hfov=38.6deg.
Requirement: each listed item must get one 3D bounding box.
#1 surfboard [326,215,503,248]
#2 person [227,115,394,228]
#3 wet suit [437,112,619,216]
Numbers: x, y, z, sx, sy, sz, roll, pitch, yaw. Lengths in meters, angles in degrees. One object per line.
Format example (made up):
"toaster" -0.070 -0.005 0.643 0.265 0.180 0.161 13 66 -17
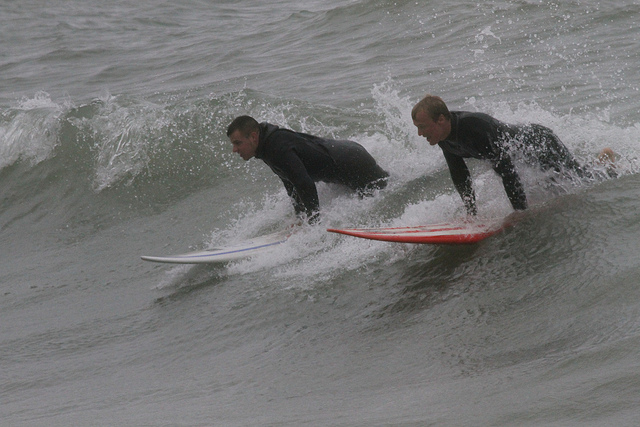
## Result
"surfboard" 1.372 0.260 12.397 2.395 0.218 0.369 -2 26 12
"person" 0.212 -0.651 13.601 3.292 1.263 0.986 -2 2 -25
"wet suit" 2.850 -0.626 12.618 3.510 1.385 1.001 -4 -6 -36
